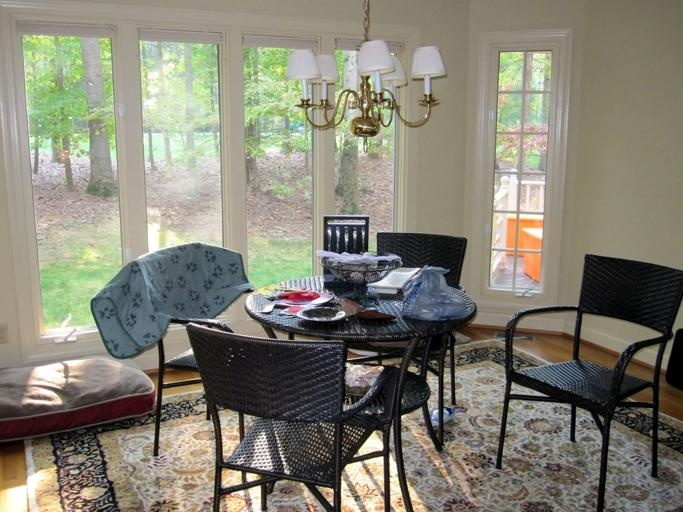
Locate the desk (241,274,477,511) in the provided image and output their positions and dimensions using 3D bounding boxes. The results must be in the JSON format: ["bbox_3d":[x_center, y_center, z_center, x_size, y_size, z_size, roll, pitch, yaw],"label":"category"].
[{"bbox_3d":[0.190,0.736,3.052,1.395,1.102,1.187,0,13,3],"label":"desk"}]

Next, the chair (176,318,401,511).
[{"bbox_3d":[-0.151,0.748,2.211,0.841,1.046,0.510,-4,15,-12],"label":"chair"}]

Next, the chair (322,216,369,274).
[{"bbox_3d":[0.019,-0.070,3.347,0.288,0.372,0.195,1,15,9],"label":"chair"}]
